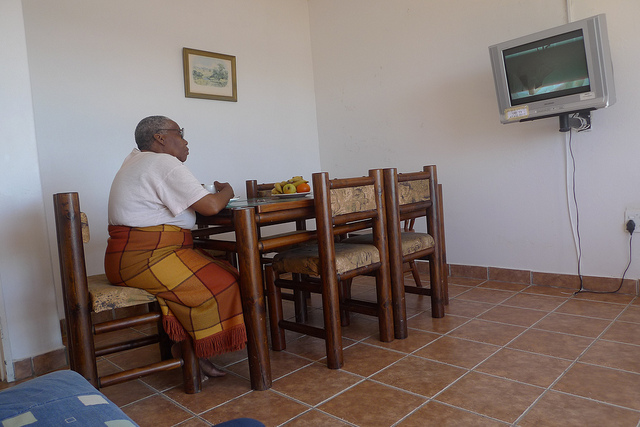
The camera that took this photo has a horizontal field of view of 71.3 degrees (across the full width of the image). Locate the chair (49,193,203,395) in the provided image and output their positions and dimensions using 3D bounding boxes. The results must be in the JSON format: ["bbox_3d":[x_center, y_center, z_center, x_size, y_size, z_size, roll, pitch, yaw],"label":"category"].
[{"bbox_3d":[-1.414,0.467,3.011,0.721,1.332,1.325,-13,16,-32],"label":"chair"}]

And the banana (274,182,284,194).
[{"bbox_3d":[-0.323,-0.188,3.387,0.036,0.081,0.068,-29,-20,-22],"label":"banana"}]

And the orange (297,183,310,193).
[{"bbox_3d":[-0.129,-0.189,3.292,0.081,0.061,0.064,-13,15,-33],"label":"orange"}]

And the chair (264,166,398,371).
[{"bbox_3d":[0.052,0.375,3.310,0.837,1.266,0.757,-9,5,-40],"label":"chair"}]

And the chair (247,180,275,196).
[{"bbox_3d":[-0.580,-0.238,4.217,0.184,0.108,0.194,7,11,37],"label":"chair"}]

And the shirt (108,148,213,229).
[{"bbox_3d":[-1.114,-0.171,3.007,0.855,0.556,0.542,12,14,44],"label":"shirt"}]

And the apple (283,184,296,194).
[{"bbox_3d":[-0.234,-0.184,3.278,0.097,0.060,0.055,-4,13,3],"label":"apple"}]

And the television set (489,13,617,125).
[{"bbox_3d":[1.951,-1.172,3.713,0.482,0.674,0.862,-23,15,-37],"label":"television set"}]

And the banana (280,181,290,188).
[{"bbox_3d":[-0.274,-0.228,3.395,0.020,0.059,0.042,41,22,1],"label":"banana"}]

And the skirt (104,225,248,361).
[{"bbox_3d":[-0.897,0.419,3.006,1.041,0.798,0.692,4,-6,20],"label":"skirt"}]

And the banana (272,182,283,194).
[{"bbox_3d":[-0.339,-0.202,3.431,0.042,0.070,0.088,-1,32,7],"label":"banana"}]

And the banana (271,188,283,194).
[{"bbox_3d":[-0.347,-0.188,3.486,0.074,0.024,0.056,21,0,28],"label":"banana"}]

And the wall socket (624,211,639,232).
[{"bbox_3d":[2.485,0.063,3.559,0.103,0.165,0.059,4,16,33],"label":"wall socket"}]
